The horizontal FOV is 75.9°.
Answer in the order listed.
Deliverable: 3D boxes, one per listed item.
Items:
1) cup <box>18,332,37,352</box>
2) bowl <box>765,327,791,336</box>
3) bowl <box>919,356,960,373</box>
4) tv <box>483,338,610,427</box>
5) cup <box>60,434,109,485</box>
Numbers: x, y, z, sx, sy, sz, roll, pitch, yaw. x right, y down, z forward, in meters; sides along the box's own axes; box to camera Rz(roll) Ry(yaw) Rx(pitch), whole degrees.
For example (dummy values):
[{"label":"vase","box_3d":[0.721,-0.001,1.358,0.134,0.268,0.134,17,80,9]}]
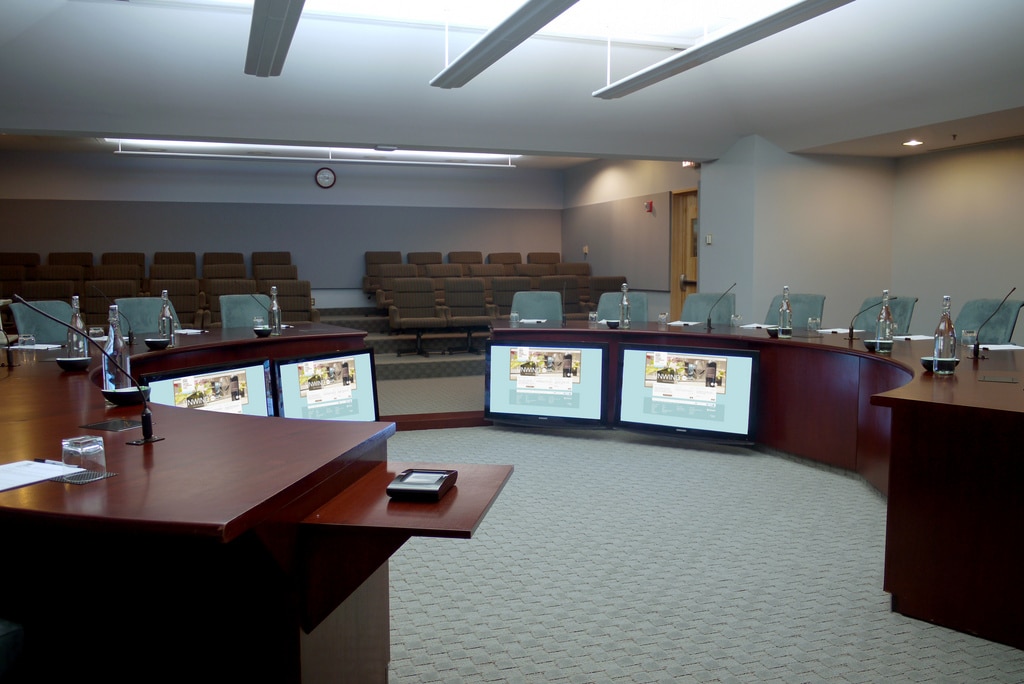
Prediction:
[{"label":"cup","box_3d":[-3.173,-0.001,4.295,0.130,0.139,0.125,1,4,0]},{"label":"bowl","box_3d":[2.066,-0.078,5.094,0.132,0.045,0.097,-3,7,-19]},{"label":"bowl","box_3d":[2.260,0.116,3.482,0.113,0.054,0.141,0,-3,0]},{"label":"tv","box_3d":[0.307,0.336,5.494,0.786,0.526,0.082,1,3,10]},{"label":"cup","box_3d":[-1.349,0.382,2.163,0.139,0.131,0.127,-6,-3,0]}]
